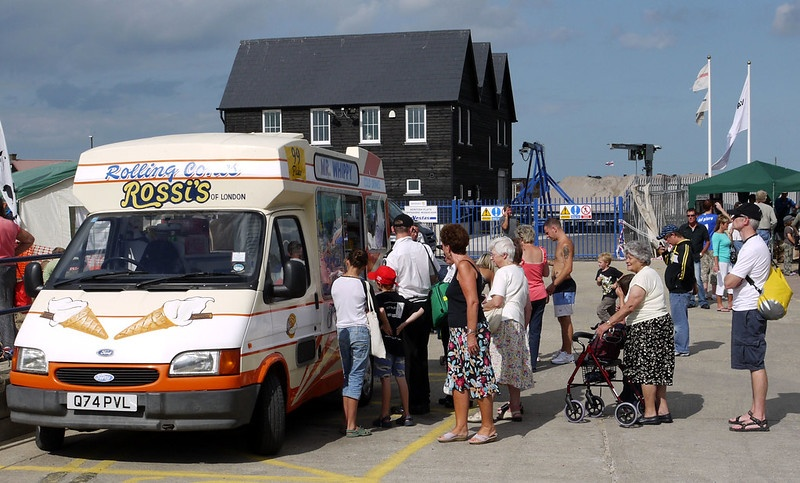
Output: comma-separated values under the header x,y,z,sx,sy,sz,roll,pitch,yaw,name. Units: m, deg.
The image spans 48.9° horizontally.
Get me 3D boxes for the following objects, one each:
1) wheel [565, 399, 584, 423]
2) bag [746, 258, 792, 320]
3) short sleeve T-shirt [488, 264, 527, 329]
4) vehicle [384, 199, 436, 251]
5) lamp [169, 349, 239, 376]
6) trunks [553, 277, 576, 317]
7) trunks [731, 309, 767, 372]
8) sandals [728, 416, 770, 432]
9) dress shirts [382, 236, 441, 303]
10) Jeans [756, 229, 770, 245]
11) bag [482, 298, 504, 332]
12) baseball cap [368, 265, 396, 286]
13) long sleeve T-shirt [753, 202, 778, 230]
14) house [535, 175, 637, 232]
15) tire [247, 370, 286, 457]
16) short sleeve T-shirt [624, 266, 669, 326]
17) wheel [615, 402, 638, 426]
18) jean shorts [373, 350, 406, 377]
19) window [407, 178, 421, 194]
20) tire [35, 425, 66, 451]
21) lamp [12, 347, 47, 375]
x,y,z,sx,sy,sz,roll,pitch,yaw,name
2.467,2.390,12.462,0.322,0.355,0.140,1,6,11,wheel
5.137,0.692,12.294,0.590,0.928,0.775,1,-11,28,bag
1.497,0.781,12.237,0.503,0.828,0.923,2,-1,34,short sleeve T-shirt
0.236,-0.567,28.505,1.960,1.060,1.127,0,2,15,vehicle
-2.410,1.469,10.736,0.505,0.185,0.386,-2,-3,16,lamp
2.835,0.970,15.631,0.552,0.911,0.685,2,-5,10,trunks
4.762,1.342,12.021,0.432,0.847,0.300,1,7,20,trunks
4.728,2.465,11.940,0.351,0.124,0.252,1,-2,9,sandals
0.133,0.433,12.953,0.901,0.791,0.407,-4,-2,-11,dress shirts
7.263,-0.110,17.592,0.236,0.308,0.162,-23,17,9,Jeans
1.243,0.971,11.942,0.303,0.556,0.437,1,-5,-17,bag
-0.253,0.459,12.484,0.228,0.182,0.349,-12,25,-35,baseball cap
8.897,-0.635,21.453,0.770,0.766,0.473,3,1,15,long sleeve T-shirt
9.063,-1.863,42.540,4.640,2.753,4.713,-2,3,21,house
-1.724,2.171,11.169,0.418,1.175,1.094,2,-3,-5,tire
3.576,0.730,12.405,0.684,0.856,0.859,-4,1,25,short sleeve T-shirt
3.132,2.365,12.150,0.308,0.310,0.129,7,3,33,wheel
-0.138,1.727,12.376,0.527,0.505,0.304,1,2,-15,jean shorts
0.642,-2.704,43.889,0.713,0.734,0.154,0,7,8,window
-4.588,2.546,11.506,0.330,0.368,0.239,-4,7,-25,tire
-4.614,1.467,10.971,0.551,0.305,0.092,2,7,26,lamp
